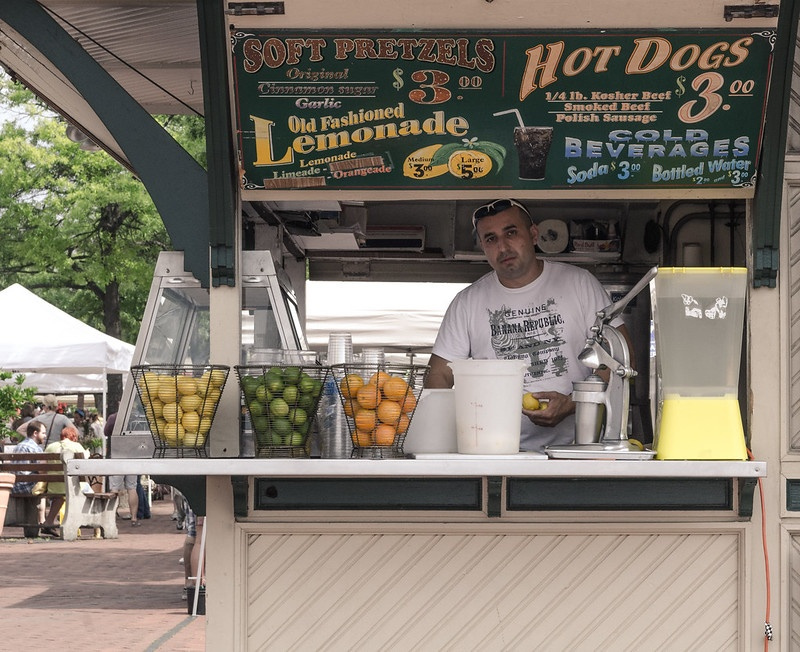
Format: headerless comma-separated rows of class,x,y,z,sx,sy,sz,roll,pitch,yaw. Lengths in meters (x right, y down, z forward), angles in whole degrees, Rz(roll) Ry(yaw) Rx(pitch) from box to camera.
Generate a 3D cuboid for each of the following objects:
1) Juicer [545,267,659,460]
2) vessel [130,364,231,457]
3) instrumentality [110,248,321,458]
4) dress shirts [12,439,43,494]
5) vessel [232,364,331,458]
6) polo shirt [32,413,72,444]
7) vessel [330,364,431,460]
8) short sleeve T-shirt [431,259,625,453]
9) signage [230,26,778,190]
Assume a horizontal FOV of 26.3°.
Juicer,1.109,0.214,9.342,0.640,1.040,0.351,-3,-3,5
vessel,-1.276,0.510,9.573,0.543,0.506,0.540,3,-8,-27
instrumentality,-1.326,0.017,10.187,0.652,0.583,0.694,15,-34,-42
dress shirts,-4.163,1.594,19.080,0.475,0.544,0.291,-3,-30,-3
vessel,-0.591,0.470,9.481,0.511,0.440,0.495,3,-4,-43
polo shirt,-4.231,1.263,20.772,0.365,0.289,0.118,0,-16,-5
vessel,-0.113,0.467,9.229,0.506,0.424,0.496,0,-5,-7
short sleeve T-shirt,0.754,0.209,9.938,1.138,0.985,0.406,-3,-1,7
signage,0.547,-1.223,9.728,2.926,0.964,0.016,1,26,5
